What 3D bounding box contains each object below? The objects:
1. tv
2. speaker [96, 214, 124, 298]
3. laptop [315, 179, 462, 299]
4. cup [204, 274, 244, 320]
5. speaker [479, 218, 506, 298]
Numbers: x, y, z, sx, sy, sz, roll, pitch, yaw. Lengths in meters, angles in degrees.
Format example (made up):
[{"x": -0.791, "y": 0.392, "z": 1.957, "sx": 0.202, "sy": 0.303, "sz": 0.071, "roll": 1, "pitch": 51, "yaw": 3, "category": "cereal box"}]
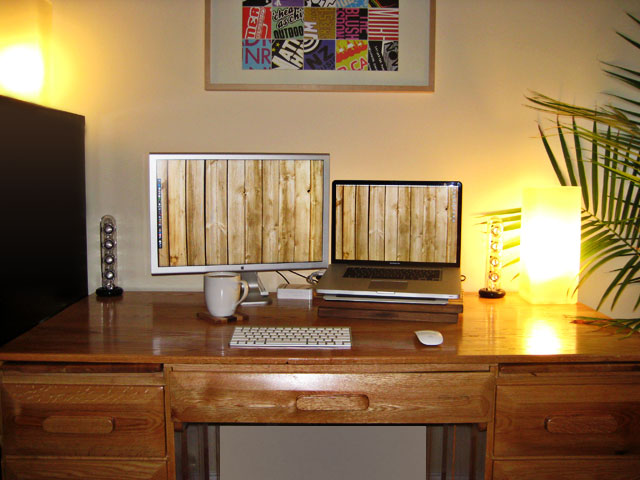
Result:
[{"x": -0.286, "y": -0.049, "z": 2.242, "sx": 0.656, "sy": 0.537, "sz": 0.186, "roll": 0, "pitch": 3, "yaw": 4, "category": "tv"}, {"x": -0.840, "y": 0.064, "z": 2.376, "sx": 0.125, "sy": 0.327, "sz": 0.119, "roll": -1, "pitch": 1, "yaw": -11, "category": "speaker"}, {"x": 0.254, "y": -0.013, "z": 2.157, "sx": 0.531, "sy": 0.348, "sz": 0.406, "roll": 1, "pitch": 14, "yaw": 11, "category": "laptop"}, {"x": -0.300, "y": 0.193, "z": 2.031, "sx": 0.128, "sy": 0.138, "sz": 0.193, "roll": -1, "pitch": 3, "yaw": -43, "category": "cup"}, {"x": 0.677, "y": 0.071, "z": 2.331, "sx": 0.096, "sy": 0.303, "sz": 0.119, "roll": 1, "pitch": 1, "yaw": 16, "category": "speaker"}]
